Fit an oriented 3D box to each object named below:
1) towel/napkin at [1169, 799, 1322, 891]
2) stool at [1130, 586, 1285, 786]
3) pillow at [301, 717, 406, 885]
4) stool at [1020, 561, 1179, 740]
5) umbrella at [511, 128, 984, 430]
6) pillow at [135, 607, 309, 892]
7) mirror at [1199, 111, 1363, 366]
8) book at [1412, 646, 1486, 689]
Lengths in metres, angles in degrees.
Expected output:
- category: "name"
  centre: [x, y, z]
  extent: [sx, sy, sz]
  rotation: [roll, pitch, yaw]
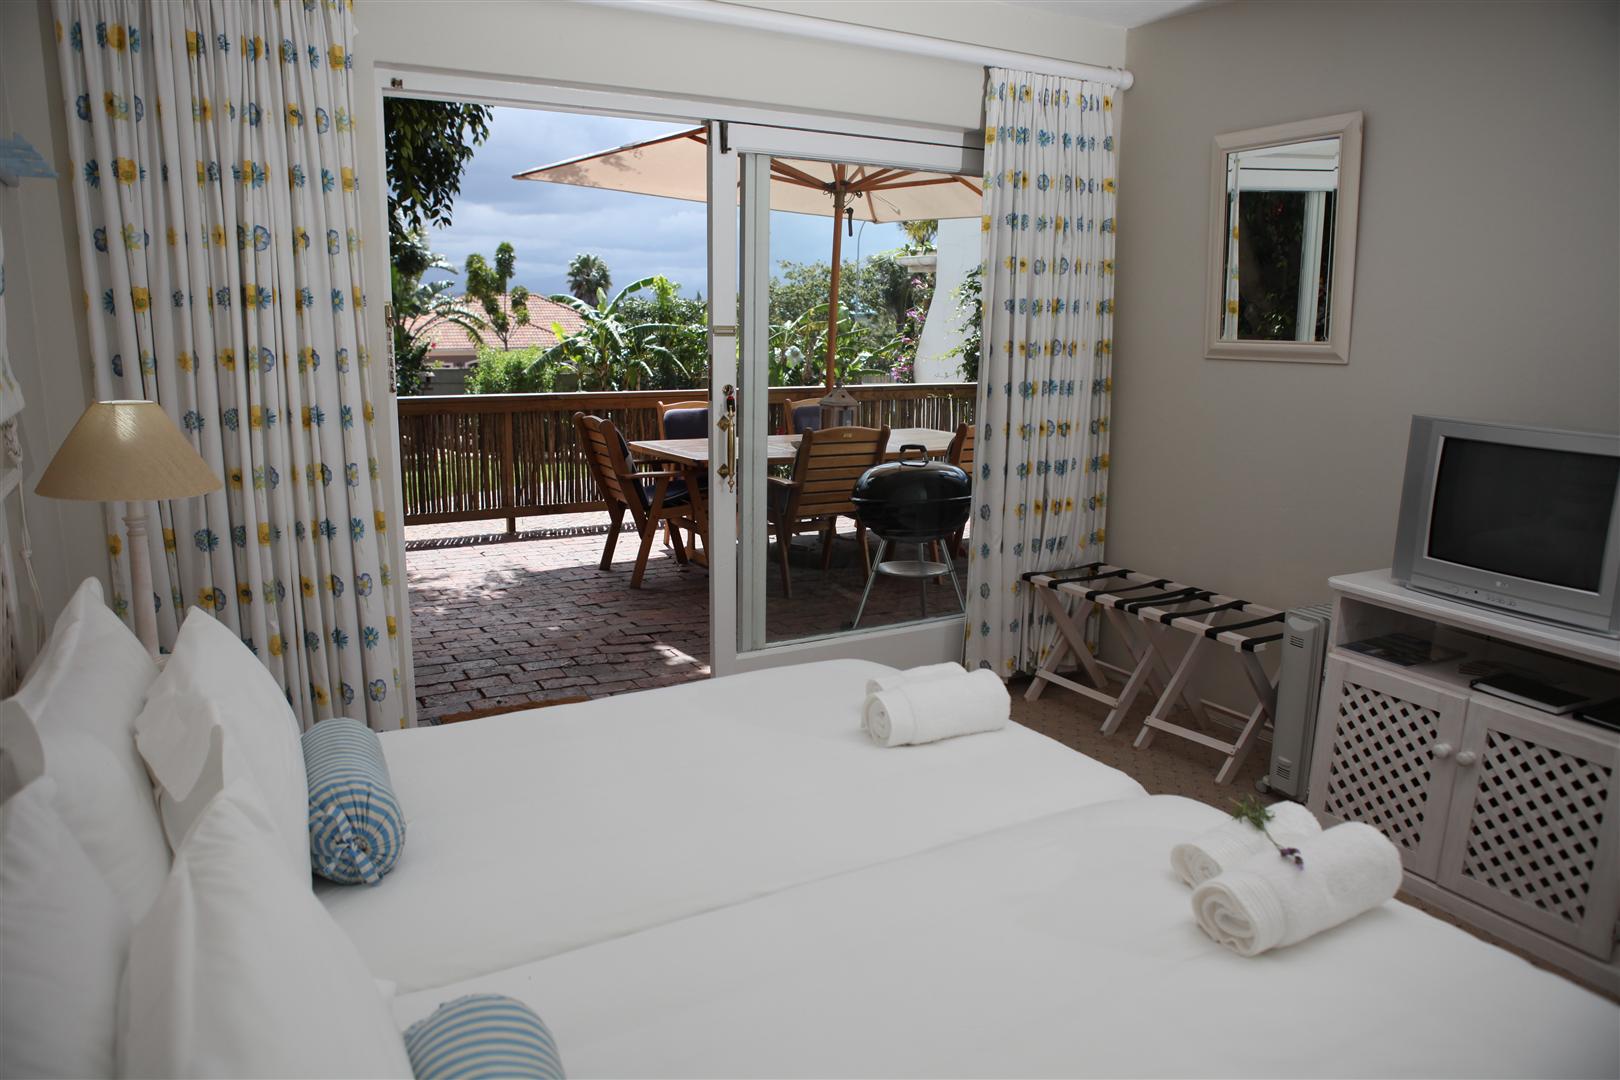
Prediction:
- category: "towel/napkin"
  centre: [1.005, 0.707, 2.412]
  extent: [0.350, 0.148, 0.169]
  rotation: [-9, 6, -27]
- category: "stool"
  centre: [1.743, 0.588, 4.571]
  extent: [0.689, 0.739, 0.732]
  rotation: [0, 5, -30]
- category: "pillow"
  centre: [-1.138, 0.643, 2.569]
  extent: [0.180, 0.180, 0.513]
  rotation: [-1, 8, -26]
- category: "stool"
  centre: [1.393, 0.512, 4.897]
  extent: [0.488, 0.627, 0.638]
  rotation: [-4, 10, -30]
- category: "umbrella"
  centre: [-0.269, -1.080, 5.766]
  extent: [2.100, 1.893, 1.867]
  rotation: [-4, 20, -21]
- category: "pillow"
  centre: [-1.266, 0.443, 2.199]
  extent: [0.150, 0.296, 0.495]
  rotation: [-25, 7, -17]
- category: "mirror"
  centre: [2.000, -1.266, 4.414]
  extent: [0.081, 0.979, 0.702]
  rotation: [-10, 16, -35]
- category: "book"
  centre: [2.230, 0.444, 3.599]
  extent: [0.154, 0.040, 0.164]
  rotation: [-17, 23, -36]
